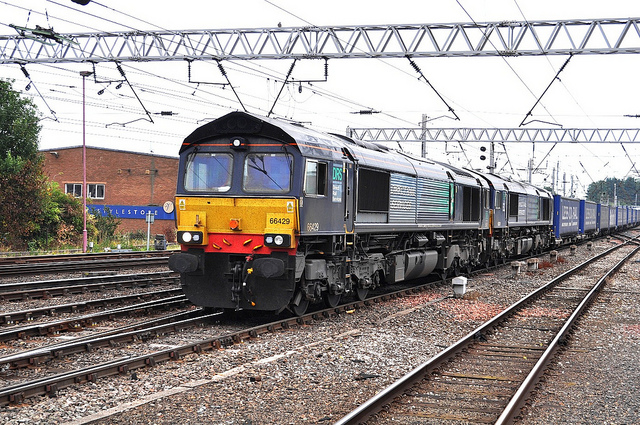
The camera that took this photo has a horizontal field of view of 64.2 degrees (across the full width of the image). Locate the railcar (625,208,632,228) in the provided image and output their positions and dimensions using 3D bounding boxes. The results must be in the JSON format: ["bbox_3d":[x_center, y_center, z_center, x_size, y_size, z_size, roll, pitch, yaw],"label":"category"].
[{"bbox_3d":[53.086,0.819,87.774,0.260,2.039,3.613,-2,1,18],"label":"railcar"}]

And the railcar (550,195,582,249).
[{"bbox_3d":[20.217,0.746,43.086,1.979,3.962,10.028,1,1,37],"label":"railcar"}]

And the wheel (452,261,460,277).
[{"bbox_3d":[6.002,2.580,22.532,0.163,0.477,0.471,7,34,5],"label":"wheel"}]

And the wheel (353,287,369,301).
[{"bbox_3d":[1.237,2.556,15.994,0.450,0.455,0.159,-22,24,-38],"label":"wheel"}]
